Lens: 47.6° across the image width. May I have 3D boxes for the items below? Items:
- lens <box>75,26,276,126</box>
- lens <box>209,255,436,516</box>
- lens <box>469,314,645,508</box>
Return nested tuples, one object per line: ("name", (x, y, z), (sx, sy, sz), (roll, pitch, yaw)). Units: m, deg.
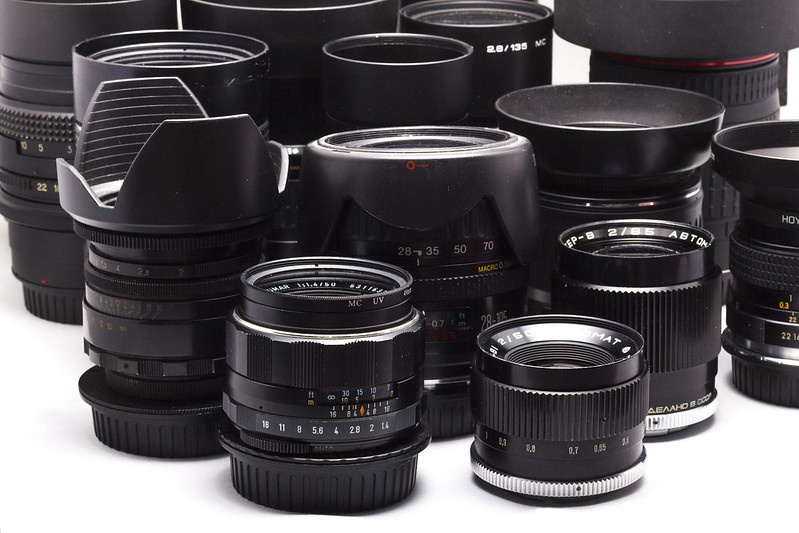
("lens", (-0.609, -0.502, 2.443), (0.508, 0.234, 0.427), (-9, 22, -24))
("lens", (-0.141, 0.251, 2.139), (0.523, 0.488, 0.510), (0, 13, -3))
("lens", (0.353, 0.326, 2.088), (0.395, 0.277, 0.386), (-1, 13, -3))
